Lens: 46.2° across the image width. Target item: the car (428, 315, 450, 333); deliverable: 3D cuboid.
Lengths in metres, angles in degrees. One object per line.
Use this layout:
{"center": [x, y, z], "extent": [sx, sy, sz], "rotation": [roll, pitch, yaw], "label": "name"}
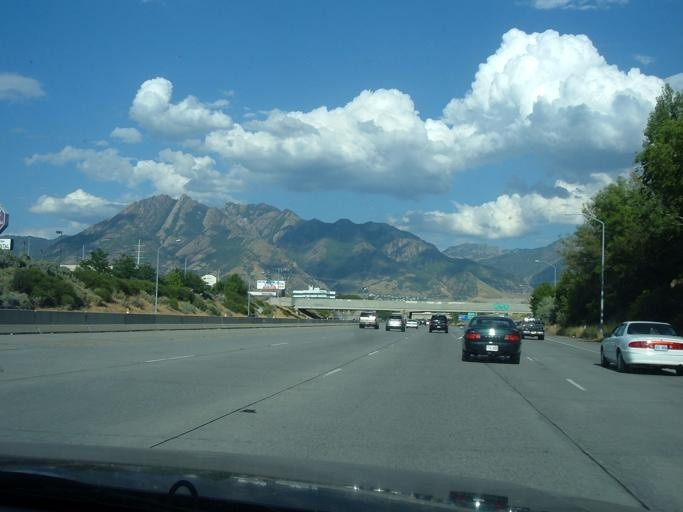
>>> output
{"center": [8.675, 6.087, 71.230], "extent": [1.082, 1.085, 2.263], "rotation": [-1, -12, 5], "label": "car"}
